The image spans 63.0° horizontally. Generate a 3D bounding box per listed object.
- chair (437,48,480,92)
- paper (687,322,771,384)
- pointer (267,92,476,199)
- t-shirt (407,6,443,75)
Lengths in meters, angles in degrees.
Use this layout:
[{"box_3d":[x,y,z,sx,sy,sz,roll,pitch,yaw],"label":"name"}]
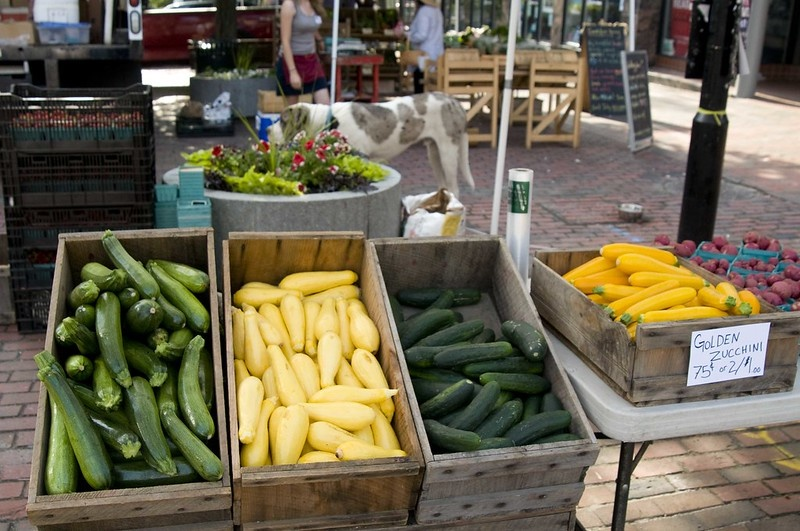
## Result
[{"box_3d":[0.999,-3.775,12.390,1.088,0.966,0.802,0,25,-2],"label":"chair"},{"box_3d":[1.544,0.404,3.095,0.314,0.200,0.013,-4,11,-13],"label":"paper"},{"box_3d":[-0.061,-1.364,7.713,2.790,1.284,0.573,-16,20,-41],"label":"pointer"},{"box_3d":[0.521,-4.670,13.182,0.534,1.123,0.548,5,17,26],"label":"t-shirt"}]
